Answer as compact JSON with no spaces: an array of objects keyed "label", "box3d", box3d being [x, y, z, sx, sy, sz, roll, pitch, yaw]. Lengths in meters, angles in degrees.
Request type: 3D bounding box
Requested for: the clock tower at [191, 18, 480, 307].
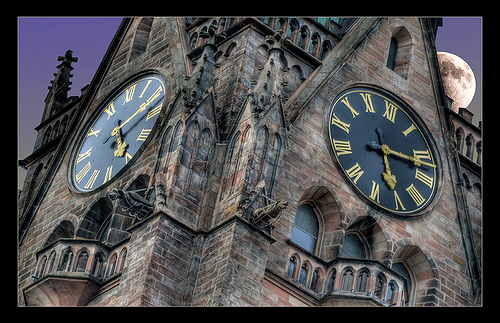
[{"label":"clock tower","box3d":[2.462,-0.033,32.055,6.405,11.322,1.742,25,-50,-16]}]
